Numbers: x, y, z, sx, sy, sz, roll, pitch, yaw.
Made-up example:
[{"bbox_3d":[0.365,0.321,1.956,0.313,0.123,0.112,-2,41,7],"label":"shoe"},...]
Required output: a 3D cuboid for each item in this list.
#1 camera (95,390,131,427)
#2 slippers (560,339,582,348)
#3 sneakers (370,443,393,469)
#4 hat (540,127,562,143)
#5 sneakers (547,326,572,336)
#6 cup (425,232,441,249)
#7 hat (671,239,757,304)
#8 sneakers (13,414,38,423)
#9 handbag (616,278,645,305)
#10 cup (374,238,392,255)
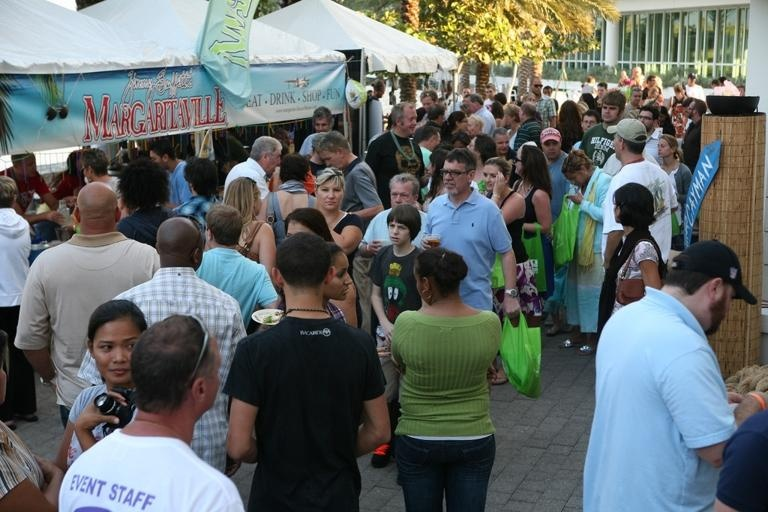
[{"bbox_3d":[-1.581,0.867,4.555,0.206,0.152,0.188,10,-7,-39],"label":"camera"},{"bbox_3d":[2.402,1.122,9.804,0.207,0.090,0.116,2,10,-19],"label":"slippers"},{"bbox_3d":[-0.012,1.851,7.162,0.200,0.212,0.146,-1,10,-1],"label":"sneakers"},{"bbox_3d":[2.213,-1.575,10.135,0.221,0.193,0.333,-2,3,11],"label":"hat"},{"bbox_3d":[2.355,1.014,10.341,0.128,0.157,0.402,-2,-3,39],"label":"sneakers"},{"bbox_3d":[0.456,-0.143,6.928,0.114,0.142,0.122,0,7,0],"label":"cup"},{"bbox_3d":[2.026,0.073,4.671,0.429,0.284,0.311,24,-1,-6],"label":"hat"},{"bbox_3d":[-3.765,1.710,8.082,0.248,0.089,0.089,0,4,6],"label":"sneakers"},{"bbox_3d":[2.175,0.315,6.706,0.207,0.190,0.087,-2,2,1],"label":"handbag"},{"bbox_3d":[-0.026,-0.085,7.225,0.128,0.109,0.135,1,-1,0],"label":"cup"}]
